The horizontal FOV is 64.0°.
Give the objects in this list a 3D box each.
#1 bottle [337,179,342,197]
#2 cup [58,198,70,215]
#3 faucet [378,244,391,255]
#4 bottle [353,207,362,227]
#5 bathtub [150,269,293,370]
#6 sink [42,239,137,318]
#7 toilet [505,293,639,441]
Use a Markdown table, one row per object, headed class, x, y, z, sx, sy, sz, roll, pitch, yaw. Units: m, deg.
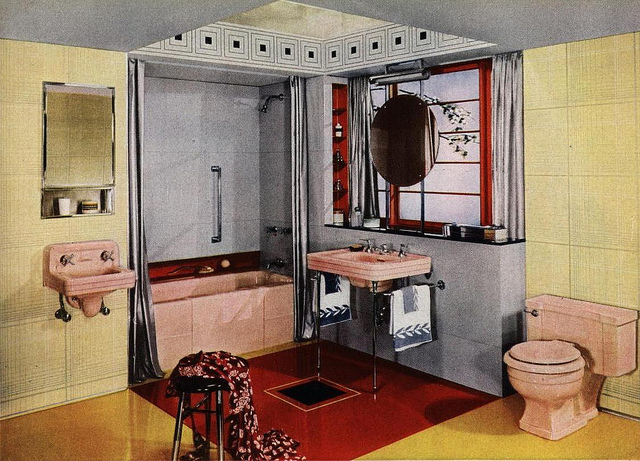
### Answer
| class | x | y | z | sx | sy | sz | roll | pitch | yaw |
| --- | --- | --- | --- | --- | --- | --- | --- | --- | --- |
| bottle | 0.228 | -0.492 | 5.915 | 0.051 | 0.196 | 0.038 | -1 | 10 | 2 |
| cup | -2.206 | -0.198 | 4.412 | 0.118 | 0.178 | 0.124 | 0 | 3 | 0 |
| faucet | 0.653 | 0.192 | 5.166 | 0.095 | 0.085 | 0.094 | 0 | 4 | 7 |
| bottle | 0.426 | -0.157 | 5.701 | 0.084 | 0.191 | 0.208 | 0 | 10 | 4 |
| bathtub | -1.088 | 0.917 | 5.711 | 1.617 | 0.788 | 0.631 | -8 | 12 | -33 |
| sink | -1.981 | 0.437 | 4.424 | 0.444 | 0.588 | 0.622 | 11 | 11 | 38 |
| toilet | 1.973 | 1.078 | 4.160 | 1.051 | 0.994 | 0.981 | -2 | 3 | -39 |
